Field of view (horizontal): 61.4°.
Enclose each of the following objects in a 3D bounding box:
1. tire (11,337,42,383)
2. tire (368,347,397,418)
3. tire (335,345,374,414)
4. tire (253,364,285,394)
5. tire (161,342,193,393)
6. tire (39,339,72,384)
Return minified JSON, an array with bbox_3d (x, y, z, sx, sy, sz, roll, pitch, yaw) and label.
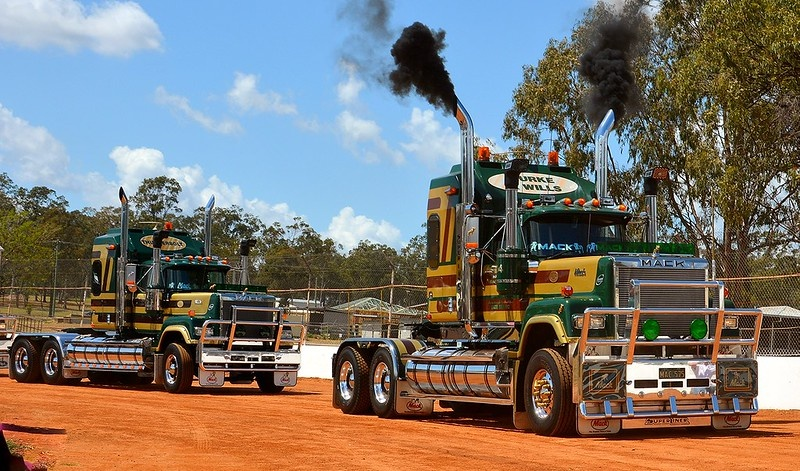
[{"bbox_3d":[-15.150,5.103,27.496,0.571,1.690,1.590,5,4,-37],"label":"tire"},{"bbox_3d":[-0.419,3.921,17.797,0.575,1.893,1.645,0,-7,-24],"label":"tire"},{"bbox_3d":[-1.187,4.009,18.432,0.641,1.940,1.667,-1,4,-30],"label":"tire"},{"bbox_3d":[-4.682,5.199,24.491,0.824,0.940,0.892,2,-2,-25],"label":"tire"},{"bbox_3d":[-7.645,4.586,23.290,0.575,2.024,1.713,2,1,-33],"label":"tire"},{"bbox_3d":[-13.705,5.078,27.152,1.694,1.793,0.617,3,-7,45],"label":"tire"}]
